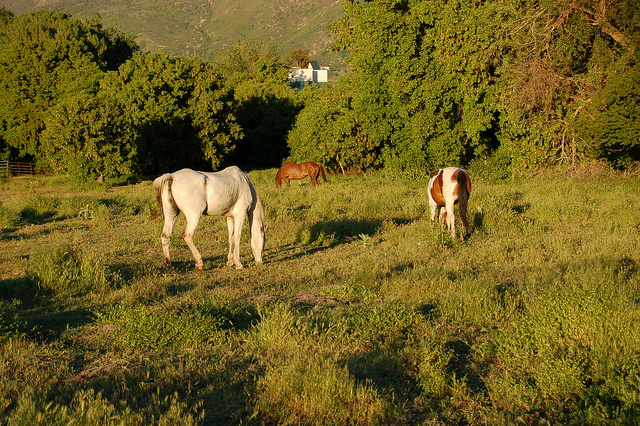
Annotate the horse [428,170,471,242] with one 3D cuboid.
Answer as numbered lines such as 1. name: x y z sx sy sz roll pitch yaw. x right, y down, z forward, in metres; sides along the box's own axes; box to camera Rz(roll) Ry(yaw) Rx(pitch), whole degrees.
1. horse: 6.206 -0.531 34.078 1.699 3.102 2.874 -7 8 -8
